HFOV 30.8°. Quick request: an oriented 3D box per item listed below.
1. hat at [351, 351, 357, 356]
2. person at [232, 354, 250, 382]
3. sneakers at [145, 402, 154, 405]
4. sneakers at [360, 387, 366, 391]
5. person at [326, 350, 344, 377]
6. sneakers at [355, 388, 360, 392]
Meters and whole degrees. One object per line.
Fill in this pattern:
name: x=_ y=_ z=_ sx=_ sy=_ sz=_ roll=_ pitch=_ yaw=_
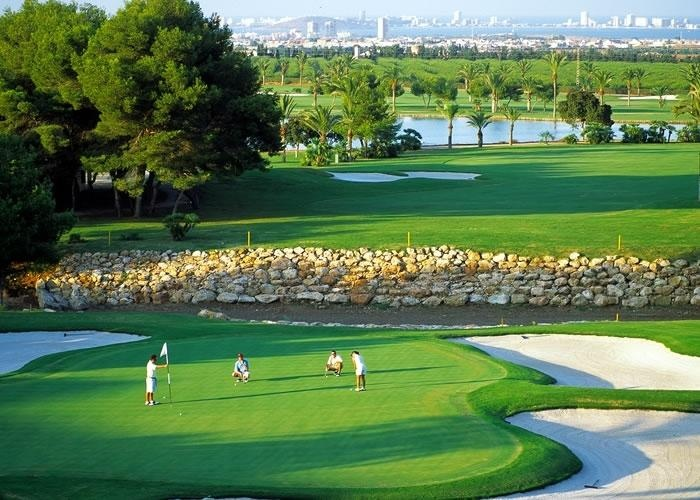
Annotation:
hat: x=0.184 y=5.215 z=63.443 sx=0.471 sy=0.184 sz=0.454 roll=0 pitch=0 yaw=2
person: x=-5.462 y=5.821 z=63.386 sx=0.860 sy=1.359 sz=1.404 roll=-3 pitch=7 yaw=-5
sneakers: x=-9.661 y=7.458 z=61.167 sx=0.425 sy=0.162 sz=0.149 roll=0 pitch=2 yaw=-8
sneakers: x=0.648 y=6.877 z=62.344 sx=0.191 sy=0.116 sz=0.109 roll=-2 pitch=2 yaw=1
person: x=-0.794 y=5.731 z=63.837 sx=0.912 sy=1.296 sz=0.732 roll=-3 pitch=7 yaw=-11
sneakers: x=0.401 y=6.915 z=62.233 sx=0.280 sy=0.119 sz=0.287 roll=-3 pitch=7 yaw=-7
